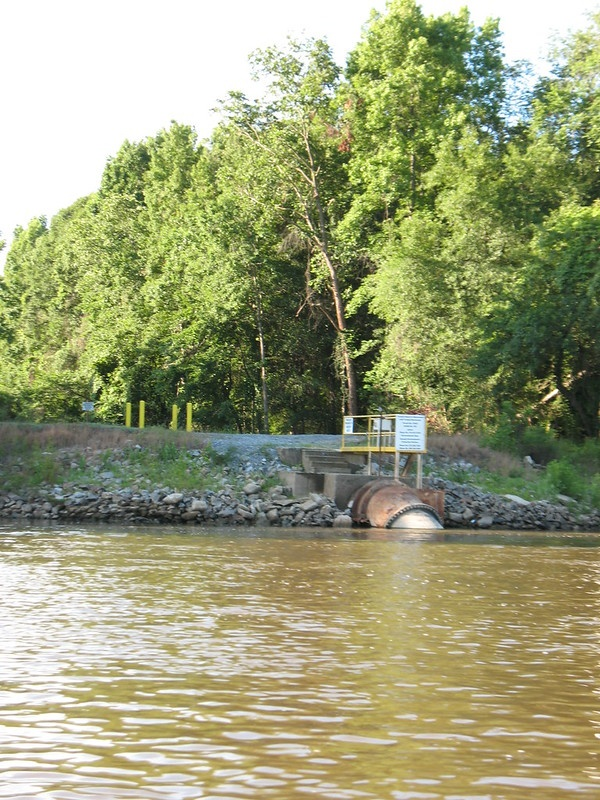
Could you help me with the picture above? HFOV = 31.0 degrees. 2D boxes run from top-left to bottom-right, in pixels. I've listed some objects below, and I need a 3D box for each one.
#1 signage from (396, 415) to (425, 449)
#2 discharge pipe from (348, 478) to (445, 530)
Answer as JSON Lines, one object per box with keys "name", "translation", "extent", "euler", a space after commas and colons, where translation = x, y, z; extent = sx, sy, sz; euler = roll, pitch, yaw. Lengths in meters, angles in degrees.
{"name": "signage", "translation": [2.962, 0.891, 28.598], "extent": [0.800, 0.984, 0.655], "euler": [2, -4, 4]}
{"name": "discharge pipe", "translation": [2.485, 2.630, 27.018], "extent": [2.045, 1.139, 2.604], "euler": [3, -4, -6]}
